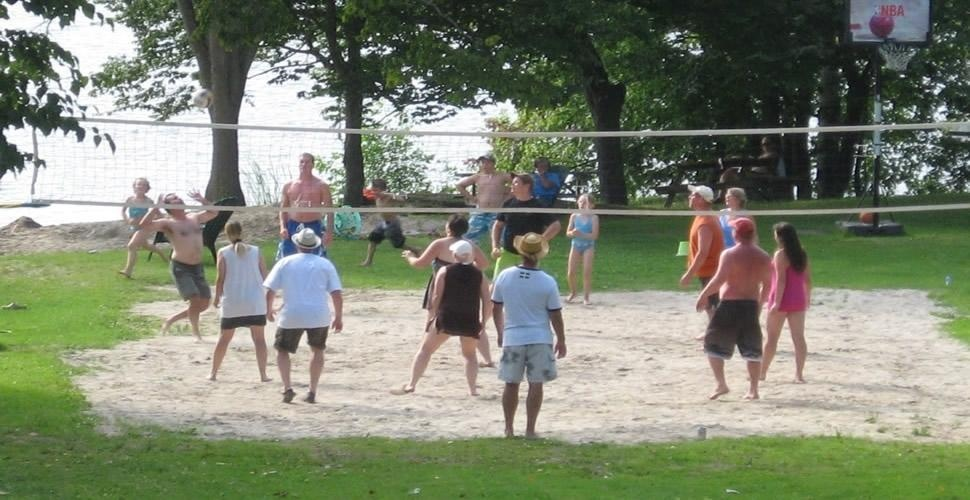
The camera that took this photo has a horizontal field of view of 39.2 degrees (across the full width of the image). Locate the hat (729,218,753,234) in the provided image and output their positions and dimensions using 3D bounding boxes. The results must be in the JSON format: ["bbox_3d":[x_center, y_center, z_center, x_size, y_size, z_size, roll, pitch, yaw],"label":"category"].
[{"bbox_3d":[5.480,-0.530,29.009,0.376,0.191,0.451,-9,16,-26],"label":"hat"}]

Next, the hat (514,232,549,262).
[{"bbox_3d":[0.945,-0.126,28.015,0.710,0.227,0.624,-9,41,-23],"label":"hat"}]

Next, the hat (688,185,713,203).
[{"bbox_3d":[4.864,-1.253,30.209,0.621,0.225,0.338,18,15,6],"label":"hat"}]

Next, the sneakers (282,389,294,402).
[{"bbox_3d":[-4.085,3.063,28.752,0.198,0.315,0.153,16,29,-17],"label":"sneakers"}]

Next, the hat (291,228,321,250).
[{"bbox_3d":[-3.752,-0.296,28.868,0.594,0.178,0.528,-2,30,-21],"label":"hat"}]

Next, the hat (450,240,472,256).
[{"bbox_3d":[-0.439,-0.062,28.768,0.449,0.304,0.342,1,5,1],"label":"hat"}]
